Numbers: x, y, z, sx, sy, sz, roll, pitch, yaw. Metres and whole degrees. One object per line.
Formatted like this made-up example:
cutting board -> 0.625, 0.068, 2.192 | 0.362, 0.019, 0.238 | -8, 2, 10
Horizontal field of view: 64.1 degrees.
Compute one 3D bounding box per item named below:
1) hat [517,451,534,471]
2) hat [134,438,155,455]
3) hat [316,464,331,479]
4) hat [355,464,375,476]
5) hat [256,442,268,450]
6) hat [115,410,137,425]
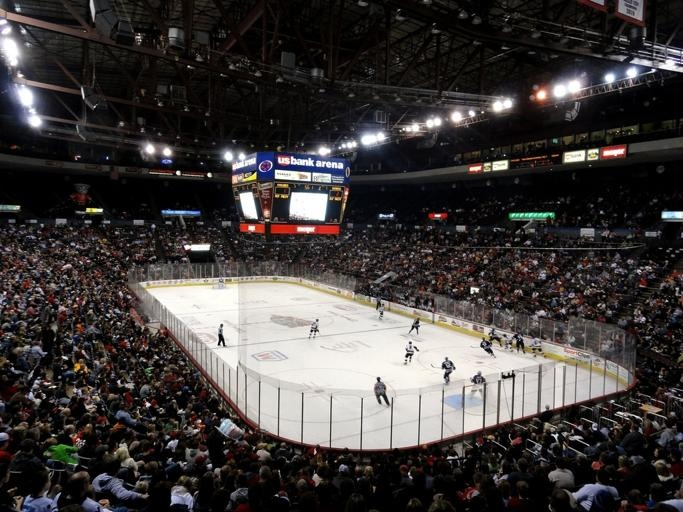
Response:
hat -> 5.472, 6.175, 16.287 | 0.713, 0.387, 0.735 | 4, -30, 12
hat -> -5.924, 5.816, 16.489 | 0.378, 0.468, 0.483 | 1, 14, 1
hat -> -0.580, 6.379, 16.028 | 0.374, 0.371, 0.216 | -10, 6, 39
hat -> 0.678, 6.621, 16.616 | 0.464, 0.309, 0.340 | -8, 0, 4
hat -> -2.586, 6.261, 17.753 | 0.312, 0.224, 0.615 | 0, 8, -5
hat -> -7.357, 5.514, 18.513 | 0.648, 0.237, 0.486 | 26, 15, 20
